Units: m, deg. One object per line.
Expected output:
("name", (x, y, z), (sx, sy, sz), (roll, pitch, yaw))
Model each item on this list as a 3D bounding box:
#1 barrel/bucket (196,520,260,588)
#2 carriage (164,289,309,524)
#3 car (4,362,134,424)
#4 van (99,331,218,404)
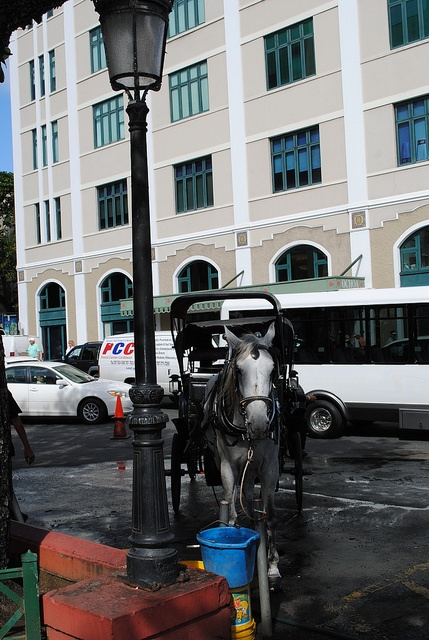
("barrel/bucket", (0.098, 1.386, 4.403), (0.395, 0.327, 0.501), (0, -3, 6))
("carriage", (0.584, 0.686, 8.223), (1.812, 2.672, 2.893), (0, 2, 5))
("car", (-3.768, 2.047, 18.735), (4.421, 1.505, 1.869), (-2, -1, 10))
("van", (-2.188, 1.272, 21.397), (4.177, 1.748, 1.775), (-2, -2, 20))
